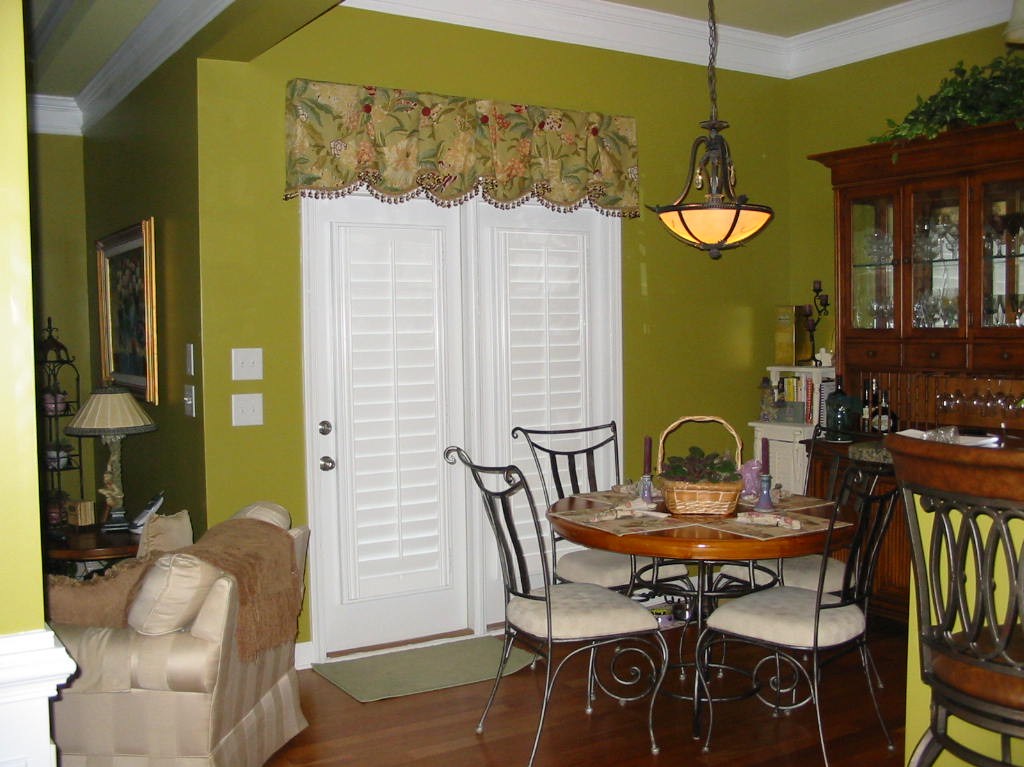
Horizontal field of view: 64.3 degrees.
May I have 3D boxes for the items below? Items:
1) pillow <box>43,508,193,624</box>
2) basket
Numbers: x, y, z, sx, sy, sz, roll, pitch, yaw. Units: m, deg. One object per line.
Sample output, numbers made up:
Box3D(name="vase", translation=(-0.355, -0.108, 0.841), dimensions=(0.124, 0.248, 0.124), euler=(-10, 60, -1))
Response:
Box3D(name="pillow", translation=(-1.463, 0.720, 3.174), dimensions=(0.313, 0.300, 0.590), euler=(16, 26, 42))
Box3D(name="basket", translation=(0.953, 0.408, 3.880), dimensions=(0.401, 0.565, 0.542), euler=(0, -8, 1))
